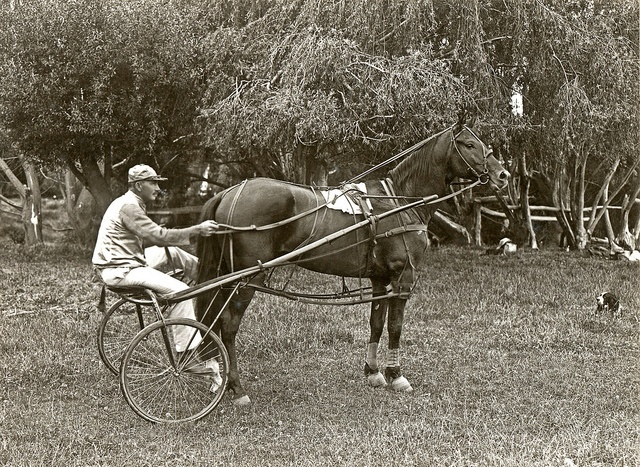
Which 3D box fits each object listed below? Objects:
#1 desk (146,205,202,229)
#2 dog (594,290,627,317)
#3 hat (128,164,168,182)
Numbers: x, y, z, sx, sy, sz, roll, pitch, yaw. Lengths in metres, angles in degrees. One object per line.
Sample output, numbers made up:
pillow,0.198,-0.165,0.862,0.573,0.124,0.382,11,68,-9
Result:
desk,-4.510,-0.544,31.526,2.812,0.437,0.275,3,13,29
dog,7.081,1.741,25.485,0.396,0.507,0.767,3,-3,-1
hat,-3.491,-1.190,20.590,0.553,0.243,0.410,-2,11,-24
